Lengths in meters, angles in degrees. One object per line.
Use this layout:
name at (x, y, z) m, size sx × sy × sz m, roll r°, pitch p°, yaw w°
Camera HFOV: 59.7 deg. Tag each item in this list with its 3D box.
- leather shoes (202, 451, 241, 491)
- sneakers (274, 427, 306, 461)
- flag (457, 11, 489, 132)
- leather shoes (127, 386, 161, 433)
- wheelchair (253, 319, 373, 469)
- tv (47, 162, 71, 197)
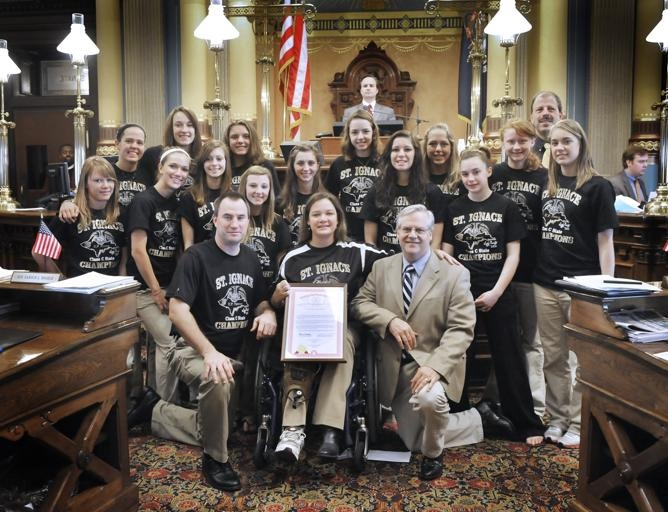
leather shoes at (-0.699, 1.337, 3.644) m, size 0.123 × 0.120 × 0.276 m, roll -3°, pitch 5°, yaw -39°
sneakers at (-0.268, 1.151, 3.604) m, size 0.140 × 0.152 × 0.284 m, roll 2°, pitch 14°, yaw 9°
flag at (1.999, -2.718, 8.678) m, size 0.410 × 2.002 × 0.085 m, roll -19°, pitch 33°, yaw -26°
leather shoes at (-1.404, 1.138, 4.317) m, size 0.147 × 0.387 × 0.124 m, roll 19°, pitch -10°, yaw -36°
wheelchair at (-0.170, 0.738, 3.829) m, size 0.693 × 1.103 × 0.881 m, roll -3°, pitch 36°, yaw 8°
tv at (-2.880, -0.794, 6.174) m, size 0.129 × 0.424 × 0.419 m, roll -17°, pitch 11°, yaw -13°
